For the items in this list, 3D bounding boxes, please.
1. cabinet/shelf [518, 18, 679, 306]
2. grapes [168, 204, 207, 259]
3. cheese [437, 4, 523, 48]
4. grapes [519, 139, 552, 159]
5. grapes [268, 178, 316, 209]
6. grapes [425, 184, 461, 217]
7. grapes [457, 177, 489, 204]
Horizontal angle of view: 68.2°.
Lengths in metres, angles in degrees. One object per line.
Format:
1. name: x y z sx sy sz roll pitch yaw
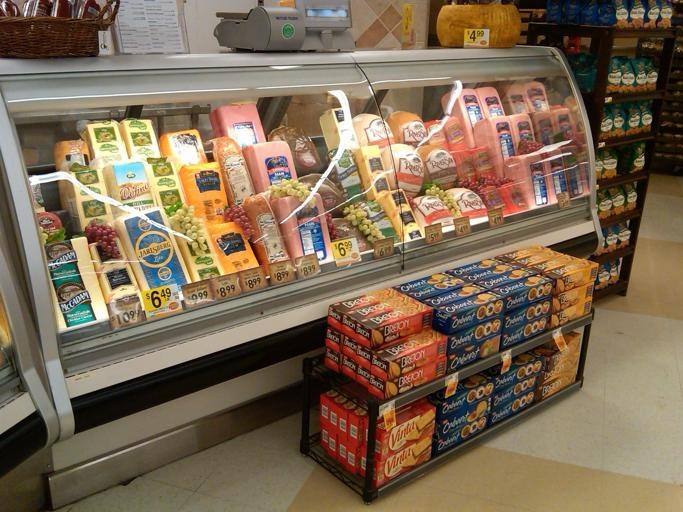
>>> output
1. cabinet/shelf: 1.866 -0.572 4.206 1.137 2.398 0.737 -10 22 -22
2. grapes: -0.635 -0.112 2.160 0.146 0.206 0.134 -12 23 -32
3. cheese: 0.805 -1.359 3.095 0.382 0.279 0.519 5 21 16
4. grapes: 1.203 -0.680 3.152 0.176 0.095 0.069 -3 -10 -9
5. grapes: -0.234 -0.246 2.354 0.245 0.140 0.125 8 -29 -29
6. grapes: 0.559 -0.305 2.799 0.083 0.251 0.092 -39 27 37
7. grapes: 0.791 -0.405 2.983 0.184 0.057 0.186 2 22 3
